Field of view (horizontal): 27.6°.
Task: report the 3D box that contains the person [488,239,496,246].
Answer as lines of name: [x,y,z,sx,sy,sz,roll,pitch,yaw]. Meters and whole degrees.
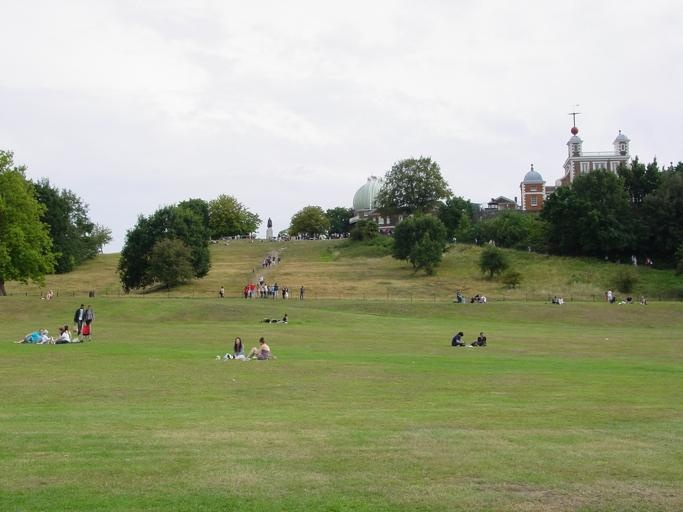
person: [20.070,-1.755,186.253,1.364,0.938,1.336,1,13,17]

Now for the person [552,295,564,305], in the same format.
person: [20.039,4.294,129.637,1.407,0.660,1.812,2,3,13]

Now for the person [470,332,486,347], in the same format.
person: [9.634,6.238,99.074,1.037,1.129,1.040,2,-36,18]

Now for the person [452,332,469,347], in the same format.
person: [8.350,6.037,98.957,1.129,1.000,0.897,-1,4,-17]
